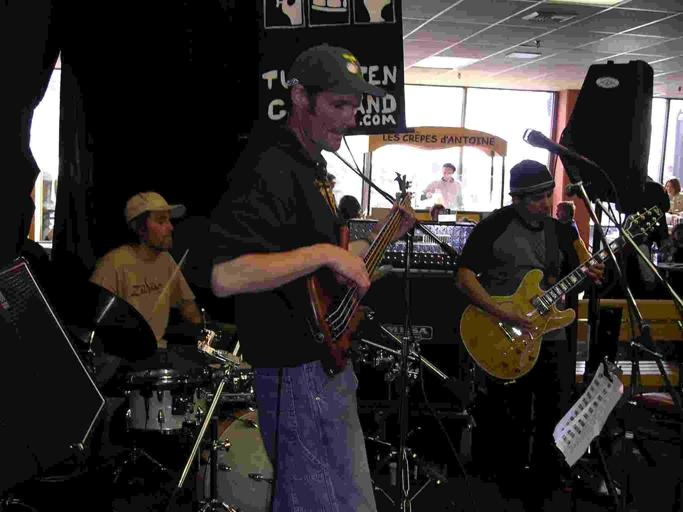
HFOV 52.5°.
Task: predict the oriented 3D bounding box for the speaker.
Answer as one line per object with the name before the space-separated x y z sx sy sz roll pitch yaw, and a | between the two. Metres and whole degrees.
speaker | 1.727 -0.781 4.475 0.582 0.951 0.241 5 11 6

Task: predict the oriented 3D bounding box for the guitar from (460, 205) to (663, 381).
guitar | 1.468 0.273 4.784 1.705 0.632 0.198 -39 -5 14

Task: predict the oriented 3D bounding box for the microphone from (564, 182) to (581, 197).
microphone | 1.342 -0.389 3.994 0.065 0.078 0.078 1 4 11

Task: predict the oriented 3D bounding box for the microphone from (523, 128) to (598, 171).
microphone | 1.260 -0.622 3.958 0.425 0.190 0.262 -4 13 -35

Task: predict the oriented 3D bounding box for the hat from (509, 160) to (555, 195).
hat | 1.300 -0.539 4.736 0.274 0.234 0.216 -23 10 7

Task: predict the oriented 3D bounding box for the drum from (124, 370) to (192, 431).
drum | -1.040 0.861 4.107 0.326 0.366 0.342 -1 -10 3

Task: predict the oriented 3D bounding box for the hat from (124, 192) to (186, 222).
hat | -1.332 -0.362 4.925 0.347 0.186 0.231 -22 -2 13
